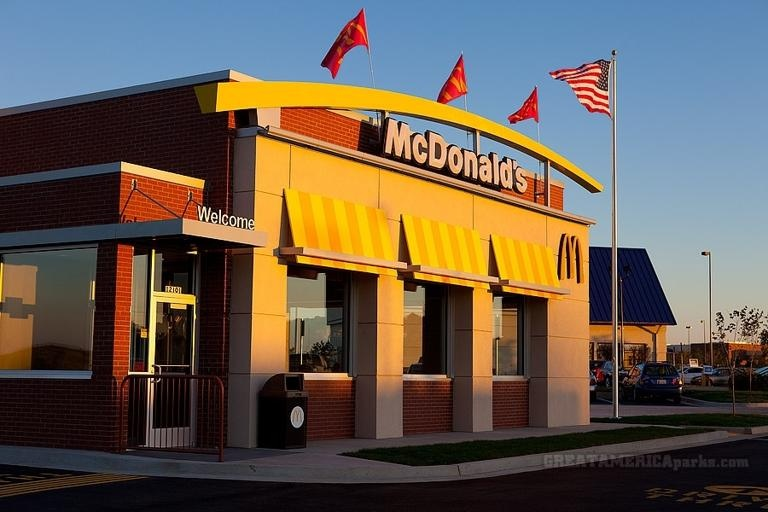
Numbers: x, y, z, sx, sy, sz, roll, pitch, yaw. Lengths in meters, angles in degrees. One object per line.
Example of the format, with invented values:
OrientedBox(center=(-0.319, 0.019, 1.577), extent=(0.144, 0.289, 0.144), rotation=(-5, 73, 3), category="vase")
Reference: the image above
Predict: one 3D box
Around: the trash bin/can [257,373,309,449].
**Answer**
OrientedBox(center=(-2.633, 3.997, 27.327), extent=(1.259, 1.932, 0.673), rotation=(1, -12, -7), category="trash bin/can")

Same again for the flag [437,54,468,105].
OrientedBox(center=(2.458, -6.275, 37.103), extent=(1.024, 2.337, 0.234), rotation=(-2, -33, 16), category="flag")
